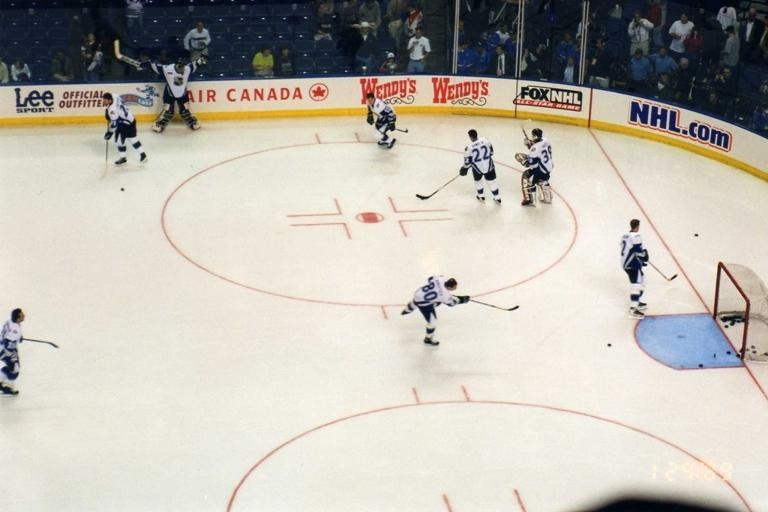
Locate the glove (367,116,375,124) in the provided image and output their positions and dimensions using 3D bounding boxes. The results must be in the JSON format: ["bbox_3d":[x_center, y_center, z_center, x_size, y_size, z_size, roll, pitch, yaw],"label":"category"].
[{"bbox_3d":[-0.417,-3.756,27.756,0.290,0.183,0.356,-5,-10,-3],"label":"glove"}]

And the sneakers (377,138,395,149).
[{"bbox_3d":[0.047,-3.089,27.496,0.513,0.274,0.193,1,65,2],"label":"sneakers"}]

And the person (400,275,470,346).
[{"bbox_3d":[0.995,1.011,20.244,0.845,1.487,1.092,-15,27,-26],"label":"person"}]

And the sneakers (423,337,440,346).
[{"bbox_3d":[0.920,1.734,20.209,0.371,0.144,0.113,4,36,-19],"label":"sneakers"}]

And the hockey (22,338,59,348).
[{"bbox_3d":[-6.881,1.749,20.080,0.792,0.058,0.110,9,-7,13],"label":"hockey"}]

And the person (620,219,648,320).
[{"bbox_3d":[5.197,0.222,20.987,0.596,1.950,0.885,3,25,12],"label":"person"}]

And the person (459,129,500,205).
[{"bbox_3d":[2.362,-2.327,24.725,0.996,1.939,1.341,0,24,5],"label":"person"}]

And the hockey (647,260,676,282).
[{"bbox_3d":[6.072,0.370,22.154,0.578,0.159,0.544,21,18,-28],"label":"hockey"}]

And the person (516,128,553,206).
[{"bbox_3d":[3.640,-2.180,24.619,0.853,1.771,0.831,0,24,6],"label":"person"}]

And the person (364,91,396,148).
[{"bbox_3d":[-0.159,-3.752,27.800,0.858,1.673,0.746,-19,71,-7],"label":"person"}]

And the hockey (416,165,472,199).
[{"bbox_3d":[1.478,-1.868,25.322,1.782,0.254,0.500,-22,40,-35],"label":"hockey"}]
